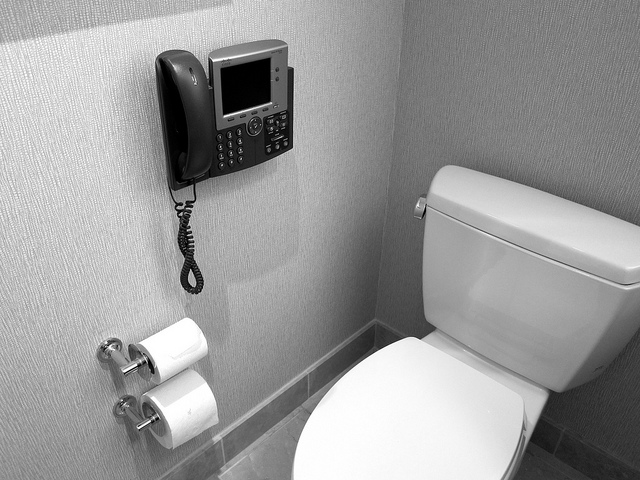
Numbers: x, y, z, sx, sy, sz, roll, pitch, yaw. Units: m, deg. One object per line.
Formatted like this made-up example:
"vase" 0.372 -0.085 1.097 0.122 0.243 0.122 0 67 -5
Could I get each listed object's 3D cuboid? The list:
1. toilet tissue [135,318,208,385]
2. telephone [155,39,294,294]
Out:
"toilet tissue" -0.364 0.255 1.150 0.155 0.132 0.133 -29 2 -28
"telephone" -0.226 -0.181 1.066 0.377 0.601 0.169 -25 47 -34
